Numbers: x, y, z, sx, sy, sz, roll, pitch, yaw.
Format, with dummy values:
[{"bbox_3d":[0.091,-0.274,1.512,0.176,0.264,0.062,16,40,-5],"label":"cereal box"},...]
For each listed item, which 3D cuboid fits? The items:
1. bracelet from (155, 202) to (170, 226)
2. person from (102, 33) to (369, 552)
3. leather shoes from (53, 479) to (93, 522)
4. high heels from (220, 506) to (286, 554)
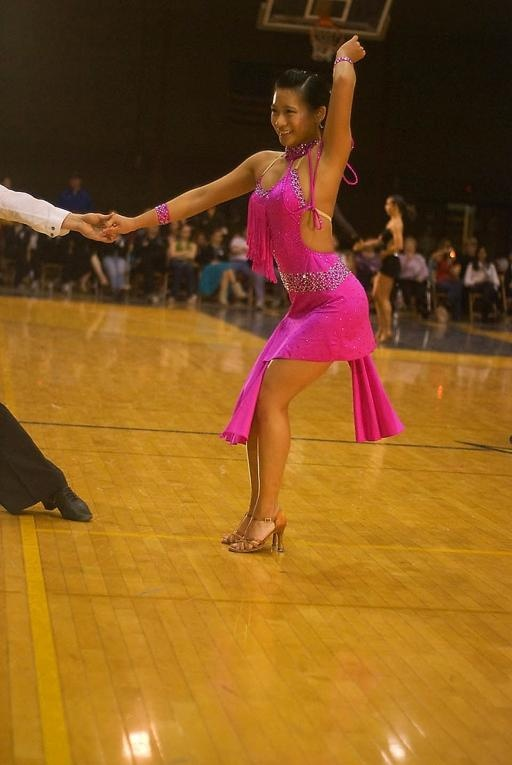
[{"bbox_3d":[-0.281,-0.507,1.961,0.057,0.065,0.028,-1,4,3],"label":"bracelet"},{"bbox_3d":[-0.010,-0.280,1.912,0.611,1.467,0.326,12,8,41],"label":"person"},{"bbox_3d":[-0.531,0.327,1.888,0.059,0.065,0.164,-28,42,-34],"label":"leather shoes"},{"bbox_3d":[-0.002,0.424,1.832,0.164,0.086,0.097,4,-10,-36],"label":"high heels"}]
